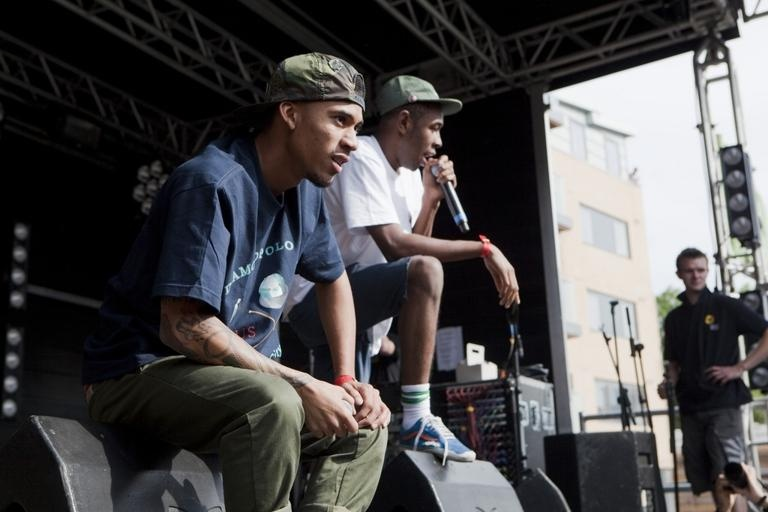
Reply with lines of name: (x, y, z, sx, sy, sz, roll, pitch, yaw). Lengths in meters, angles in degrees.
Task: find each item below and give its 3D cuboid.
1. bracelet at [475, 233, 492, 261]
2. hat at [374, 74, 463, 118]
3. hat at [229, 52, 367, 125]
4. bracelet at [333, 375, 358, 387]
bracelet: (0.540, -0.051, 4.028, 0.045, 0.137, 0.097, -3, 13, -19)
hat: (0.181, -0.996, 4.574, 0.412, 0.223, 0.281, -14, 0, 6)
hat: (-0.338, -0.782, 3.512, 0.435, 0.234, 0.344, -3, -3, -3)
bracelet: (-0.179, 0.564, 3.459, 0.067, 0.040, 0.054, -2, 4, -2)
